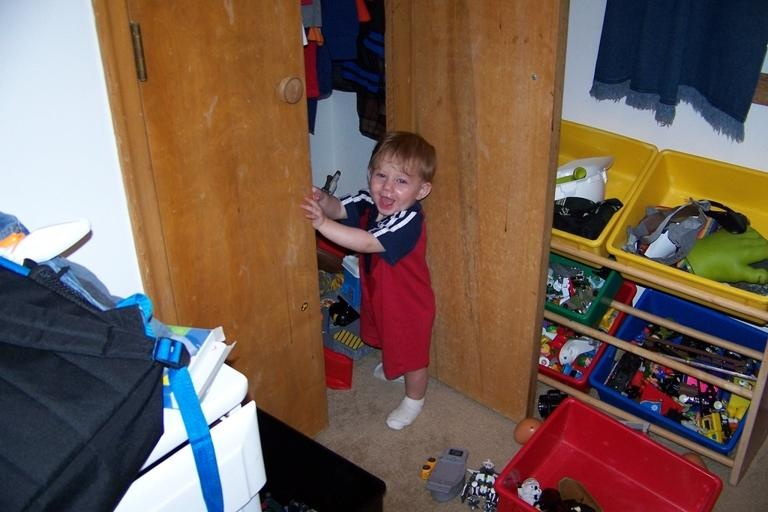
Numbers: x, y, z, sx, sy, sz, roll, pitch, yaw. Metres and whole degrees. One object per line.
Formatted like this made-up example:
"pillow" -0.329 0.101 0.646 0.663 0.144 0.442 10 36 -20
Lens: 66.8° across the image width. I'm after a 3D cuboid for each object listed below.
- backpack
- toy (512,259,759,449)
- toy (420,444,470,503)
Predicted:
"backpack" -0.524 0.294 1.171 0.432 0.139 0.432 35 37 -20
"toy" 0.954 0.297 2.214 0.762 0.255 0.498 30 63 20
"toy" 0.203 0.683 1.831 0.111 0.062 0.180 11 35 15
